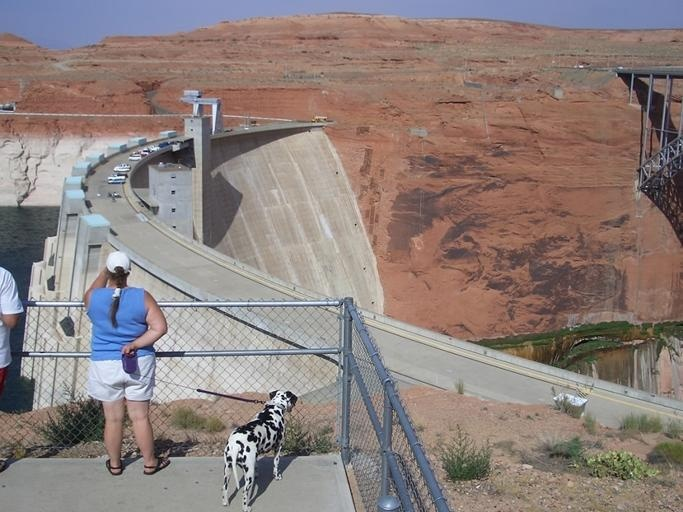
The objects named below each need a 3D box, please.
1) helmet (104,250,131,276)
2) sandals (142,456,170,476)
[{"bbox_3d":[-3.838,0.129,12.311,0.380,0.376,0.334,-5,9,-16],"label":"helmet"},{"bbox_3d":[-3.217,3.612,12.535,0.206,0.157,0.466,12,19,32],"label":"sandals"}]
